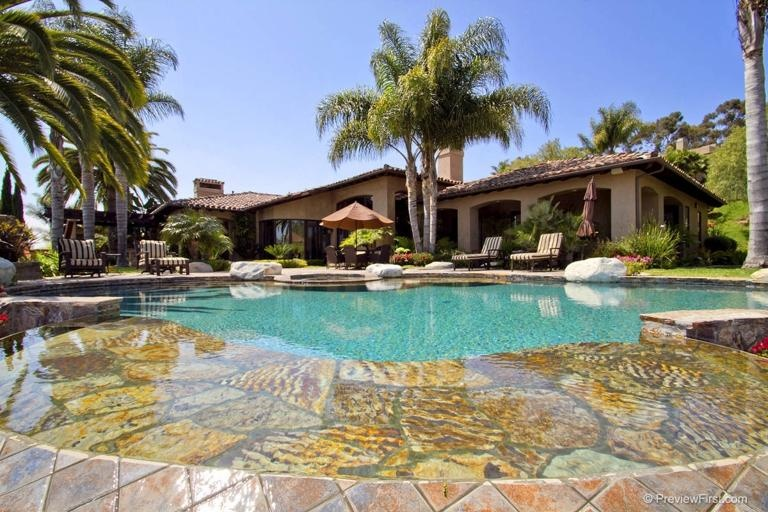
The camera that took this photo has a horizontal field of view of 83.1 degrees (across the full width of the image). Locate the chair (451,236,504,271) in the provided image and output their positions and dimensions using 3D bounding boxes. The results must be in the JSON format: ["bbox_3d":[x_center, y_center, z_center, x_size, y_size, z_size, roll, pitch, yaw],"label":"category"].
[{"bbox_3d":[3.670,-0.035,16.527,1.884,1.321,1.173,0,-1,-27],"label":"chair"}]

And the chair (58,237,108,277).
[{"bbox_3d":[-9.027,0.063,12.933,0.589,1.177,1.027,-6,-3,33],"label":"chair"}]

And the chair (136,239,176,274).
[{"bbox_3d":[-7.603,0.048,14.590,1.388,1.090,1.042,2,2,39],"label":"chair"}]

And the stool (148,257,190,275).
[{"bbox_3d":[-7.128,0.306,14.238,0.738,0.551,1.056,3,-6,-29],"label":"stool"}]

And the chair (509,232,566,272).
[{"bbox_3d":[5.364,-0.103,14.940,1.697,1.465,1.268,0,-2,-26],"label":"chair"}]
